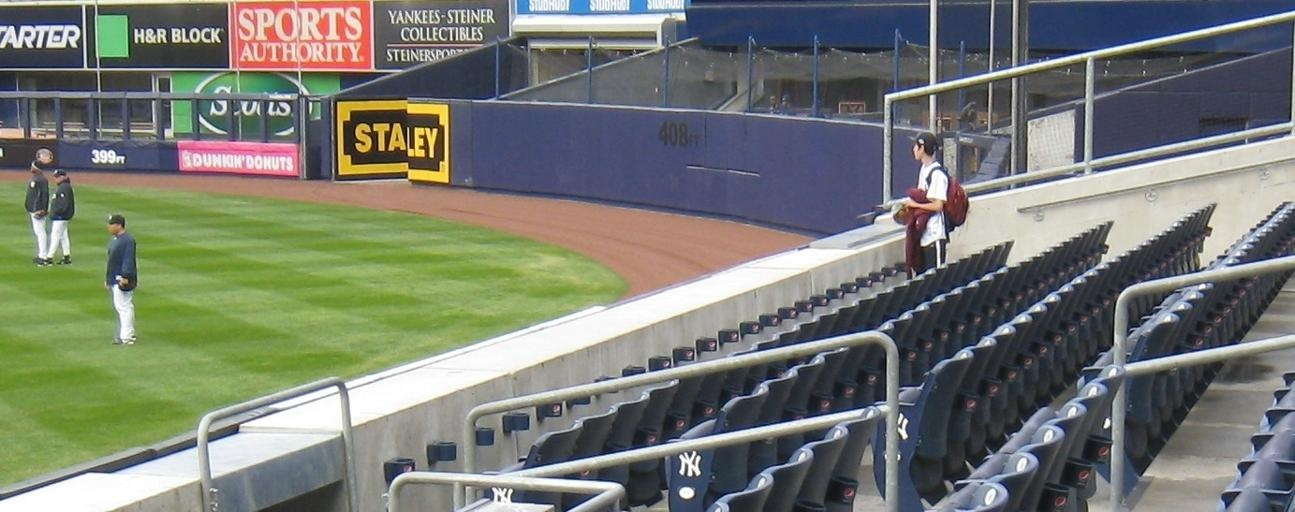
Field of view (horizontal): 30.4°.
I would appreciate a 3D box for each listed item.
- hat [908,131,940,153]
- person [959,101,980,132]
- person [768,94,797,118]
[{"bbox_3d":[7.683,-3.068,65.664,1.073,0.328,0.665,19,14,9],"label":"hat"},{"bbox_3d":[9.192,-3.918,68.336,0.546,0.799,0.216,-3,13,-15],"label":"person"},{"bbox_3d":[4.198,-4.743,75.222,0.393,0.654,1.029,-10,14,-39],"label":"person"}]
